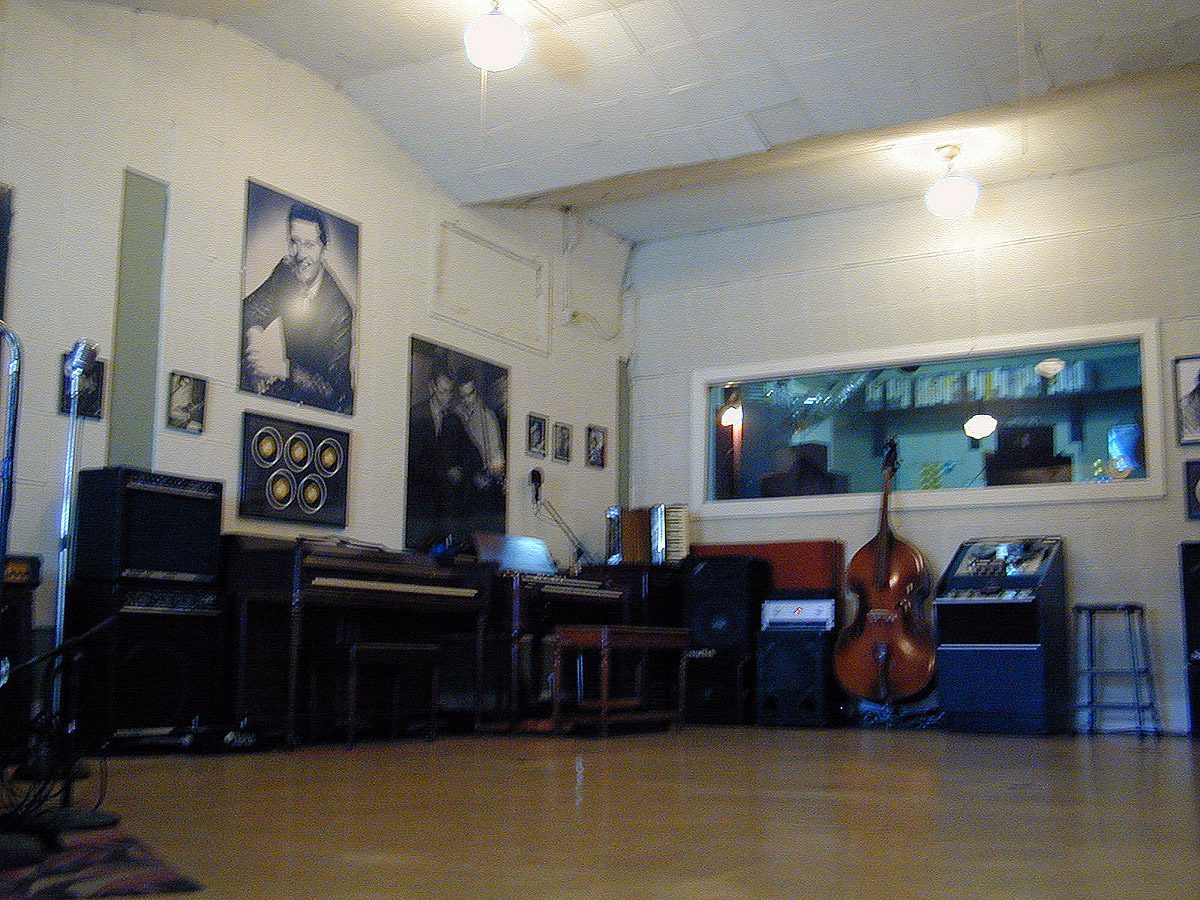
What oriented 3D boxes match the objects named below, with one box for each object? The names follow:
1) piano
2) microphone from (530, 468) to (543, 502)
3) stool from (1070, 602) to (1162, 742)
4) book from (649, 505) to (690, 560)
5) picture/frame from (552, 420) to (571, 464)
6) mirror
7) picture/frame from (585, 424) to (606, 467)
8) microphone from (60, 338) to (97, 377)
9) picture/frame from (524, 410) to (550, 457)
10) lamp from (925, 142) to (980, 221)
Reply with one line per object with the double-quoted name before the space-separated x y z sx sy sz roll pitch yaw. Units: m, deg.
"piano" -1.394 1.069 5.920 0.544 0.879 1.089 -16 -20 34
"microphone" -0.487 0.283 8.394 0.096 0.270 0.235 -2 -9 2
"stool" 3.688 1.556 7.697 0.555 0.915 0.321 -6 -10 27
"book" 0.527 0.715 8.997 0.484 0.495 0.369 1 -14 -3
"picture/frame" -0.313 -0.058 8.736 0.041 0.392 0.320 -4 -7 32
"mirror" 2.647 -0.177 8.631 3.425 1.364 0.218 -6 -10 24
"picture/frame" -0.040 -0.032 9.161 0.047 0.319 0.358 -3 0 29
"microphone" -2.024 -0.368 4.207 0.083 0.166 0.268 4 -10 -31
"picture/frame" -0.499 -0.120 8.452 0.043 0.345 0.341 -3 -6 25
"lamp" 2.583 -1.987 7.850 0.374 0.417 0.380 -18 -50 34
